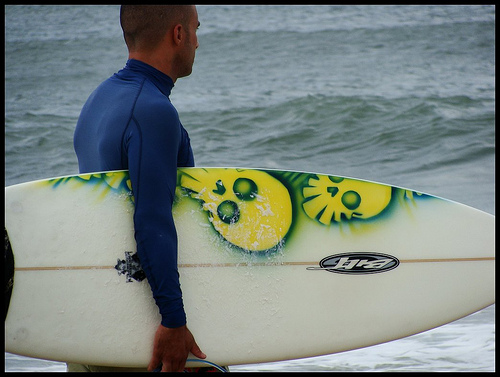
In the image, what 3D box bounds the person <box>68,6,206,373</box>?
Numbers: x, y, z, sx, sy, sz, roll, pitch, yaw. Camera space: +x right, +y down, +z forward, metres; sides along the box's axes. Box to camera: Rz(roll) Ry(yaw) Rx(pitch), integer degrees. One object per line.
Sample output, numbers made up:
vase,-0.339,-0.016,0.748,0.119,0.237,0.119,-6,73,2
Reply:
person,-0.509,-0.024,4.465,0.666,1.915,0.884,-9,23,-33
